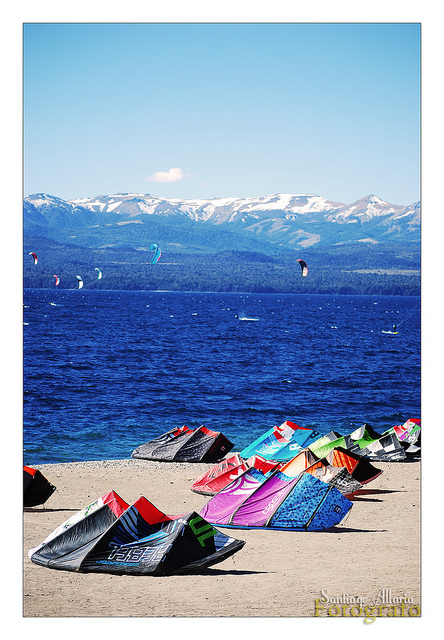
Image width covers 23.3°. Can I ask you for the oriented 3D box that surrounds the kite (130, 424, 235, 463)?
[{"bbox_3d":[-1.199,4.182,37.634,3.107,0.926,2.274,0,9,24],"label":"kite"}]

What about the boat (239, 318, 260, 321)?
[{"bbox_3d":[3.741,-0.135,153.168,2.608,0.171,7.683,2,2,1],"label":"boat"}]
